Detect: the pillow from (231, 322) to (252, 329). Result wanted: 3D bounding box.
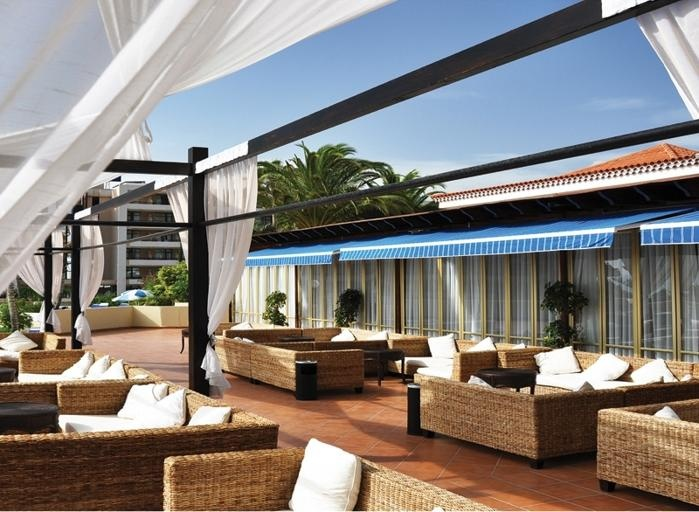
[{"bbox_3d":[-3.589,2.293,16.902,0.593,0.180,0.658,0,0,3],"label":"pillow"}]
